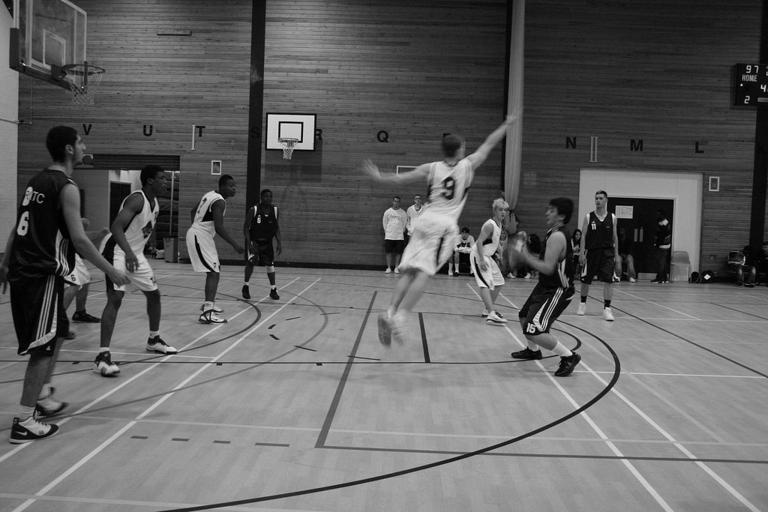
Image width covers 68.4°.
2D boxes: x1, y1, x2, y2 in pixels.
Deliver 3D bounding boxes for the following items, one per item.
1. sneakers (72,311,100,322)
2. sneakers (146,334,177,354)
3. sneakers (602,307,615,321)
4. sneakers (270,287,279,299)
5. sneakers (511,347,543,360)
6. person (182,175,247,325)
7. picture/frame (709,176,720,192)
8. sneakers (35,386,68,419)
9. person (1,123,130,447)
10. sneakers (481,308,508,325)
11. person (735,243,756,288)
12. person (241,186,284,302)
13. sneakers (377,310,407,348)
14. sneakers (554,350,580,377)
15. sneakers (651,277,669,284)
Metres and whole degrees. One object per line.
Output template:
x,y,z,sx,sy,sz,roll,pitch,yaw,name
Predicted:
-4.310,0.882,8.334,0.486,0.192,0.162,1,2,-14,sneakers
-2.634,1.081,6.967,0.507,0.229,0.171,5,1,-1,sneakers
3.865,0.977,9.740,0.174,0.222,0.369,6,11,21,sneakers
-2.042,0.683,10.609,0.184,0.255,0.326,-1,11,-12,sneakers
1.805,1.223,7.227,0.427,0.182,0.152,3,-4,7,sneakers
-2.647,-0.111,8.804,0.761,2.265,1.263,-2,11,-17,person
9.659,-2.167,16.619,0.431,0.584,0.060,2,-2,2,picture/frame
-3.088,1.375,5.254,0.130,0.251,0.341,6,4,26,sneakers
-2.952,0.183,5.035,0.813,2.658,0.847,-5,13,-30,person
1.766,0.991,9.130,0.437,0.183,0.163,1,5,-1,sneakers
10.439,0.275,16.267,0.279,1.156,0.713,-4,-1,-37,person
-2.349,-0.229,10.808,0.716,2.098,1.198,-1,11,-13,person
0.079,0.772,6.122,0.224,0.428,0.290,-1,4,4,sneakers
2.157,1.253,6.613,0.396,0.272,0.189,-7,14,-40,sneakers
7.829,0.691,16.103,0.559,0.235,0.223,2,2,10,sneakers
